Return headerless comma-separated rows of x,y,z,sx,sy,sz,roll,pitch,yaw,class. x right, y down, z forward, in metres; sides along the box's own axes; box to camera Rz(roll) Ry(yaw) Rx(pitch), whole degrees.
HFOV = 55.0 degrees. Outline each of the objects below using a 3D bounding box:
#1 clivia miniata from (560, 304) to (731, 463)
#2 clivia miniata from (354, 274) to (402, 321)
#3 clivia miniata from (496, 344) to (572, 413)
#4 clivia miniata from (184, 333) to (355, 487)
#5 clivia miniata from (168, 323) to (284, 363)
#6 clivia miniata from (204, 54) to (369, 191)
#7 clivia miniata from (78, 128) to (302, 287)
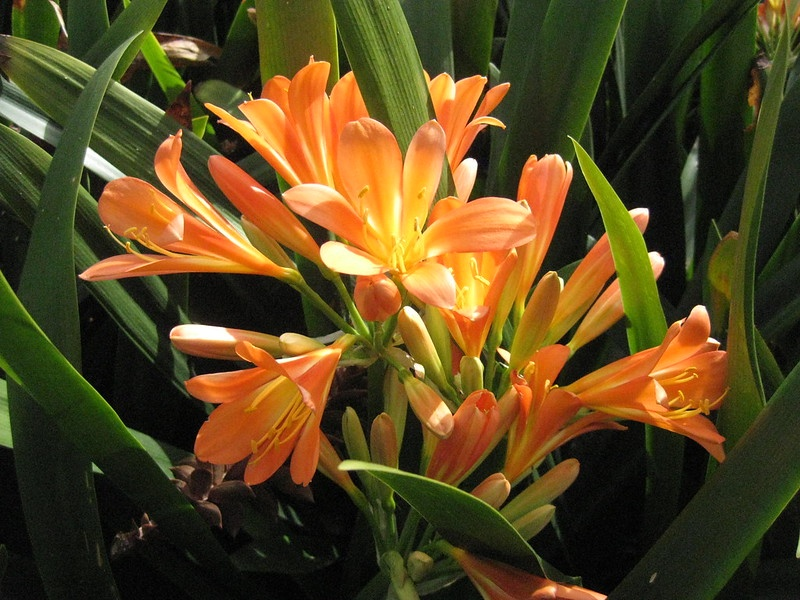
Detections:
0.305,0.095,0.984,0.217,0.152,0.169,6,27,21,clivia miniata
-0.028,0.005,0.938,0.054,0.088,0.058,1,33,-4,clivia miniata
0.171,0.093,0.949,0.064,0.098,0.045,11,34,10,clivia miniata
-0.137,0.127,0.949,0.153,0.110,0.203,38,72,16,clivia miniata
-0.234,0.058,1.013,0.160,0.040,0.045,8,32,1,clivia miniata
-0.153,-0.219,1.030,0.182,0.172,0.117,-28,69,2,clivia miniata
-0.276,-0.075,1.016,0.230,0.145,0.176,27,38,-2,clivia miniata
